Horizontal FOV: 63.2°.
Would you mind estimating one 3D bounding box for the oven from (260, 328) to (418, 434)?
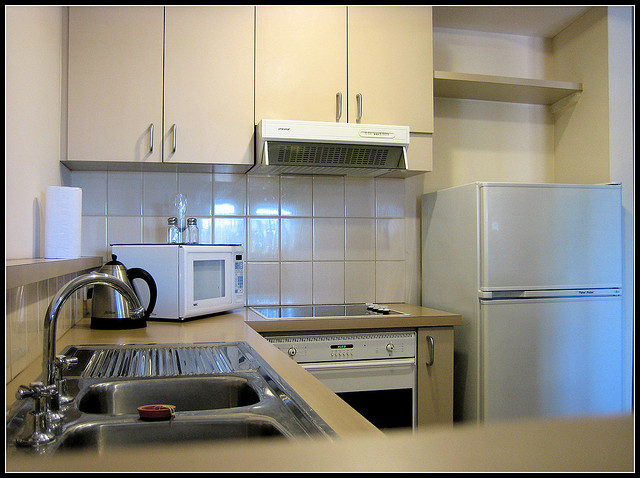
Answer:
[{"bbox_3d":[0.081,0.615,2.295,0.629,0.567,0.421,-2,10,-1],"label":"oven"}]

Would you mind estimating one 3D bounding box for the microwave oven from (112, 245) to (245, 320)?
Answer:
[{"bbox_3d":[-0.502,0.155,2.078,0.290,0.269,0.421,-1,-1,15],"label":"microwave oven"}]

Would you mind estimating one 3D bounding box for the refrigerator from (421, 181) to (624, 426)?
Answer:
[{"bbox_3d":[0.864,0.245,2.618,0.917,1.229,0.708,2,1,-10],"label":"refrigerator"}]

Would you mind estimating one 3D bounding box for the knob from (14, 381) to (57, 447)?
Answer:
[{"bbox_3d":[-0.487,0.297,0.895,0.061,0.103,0.109,2,-15,-30],"label":"knob"}]

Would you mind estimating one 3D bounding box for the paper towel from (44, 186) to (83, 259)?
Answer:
[{"bbox_3d":[-0.840,-0.051,1.703,0.099,0.243,0.124,4,3,-28],"label":"paper towel"}]

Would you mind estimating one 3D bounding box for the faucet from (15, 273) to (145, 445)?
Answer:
[{"bbox_3d":[-0.400,0.207,0.977,0.190,0.277,0.236,6,2,-19],"label":"faucet"}]

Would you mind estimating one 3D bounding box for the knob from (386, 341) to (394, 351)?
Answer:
[{"bbox_3d":[0.286,0.439,2.124,0.027,0.037,0.013,-1,-5,-3],"label":"knob"}]

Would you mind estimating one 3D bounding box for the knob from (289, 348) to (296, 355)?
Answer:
[{"bbox_3d":[-0.108,0.441,2.046,0.024,0.025,0.010,-2,-14,-17],"label":"knob"}]
